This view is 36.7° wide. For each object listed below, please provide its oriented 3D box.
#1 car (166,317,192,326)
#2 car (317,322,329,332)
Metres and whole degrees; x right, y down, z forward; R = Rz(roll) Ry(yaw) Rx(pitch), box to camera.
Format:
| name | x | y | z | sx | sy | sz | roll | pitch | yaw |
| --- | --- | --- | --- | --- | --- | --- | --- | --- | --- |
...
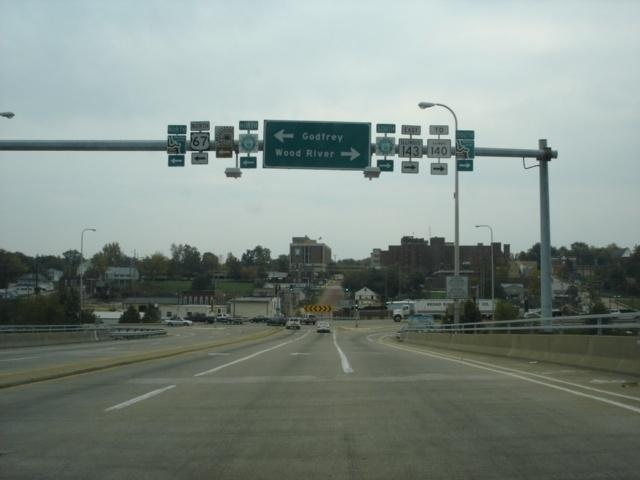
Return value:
| name | x | y | z | sx | sy | sz | roll | pitch | yaw |
| --- | --- | --- | --- | --- | --- | --- | --- | --- | --- |
| car | -16.582 | 9.551 | 113.331 | 2.622 | 1.092 | 1.454 | -4 | -4 | 15 |
| car | 0.279 | 7.592 | 85.045 | 1.006 | 1.011 | 2.700 | 1 | 1 | 2 |
